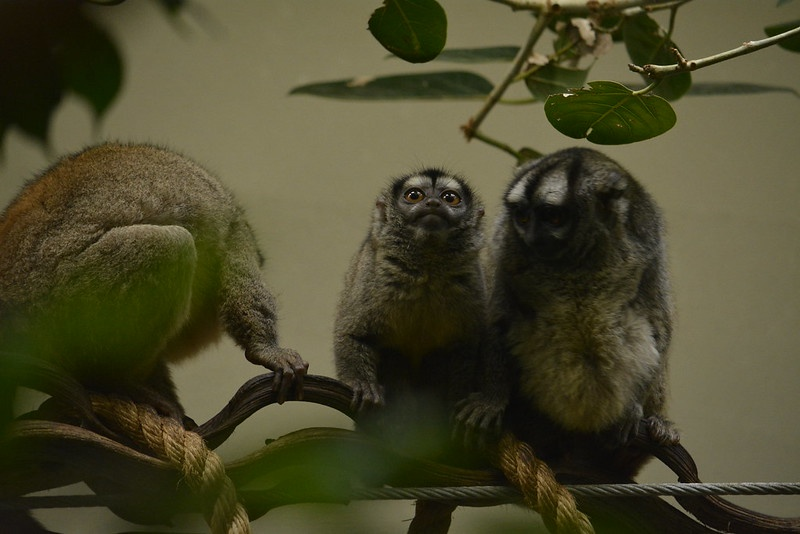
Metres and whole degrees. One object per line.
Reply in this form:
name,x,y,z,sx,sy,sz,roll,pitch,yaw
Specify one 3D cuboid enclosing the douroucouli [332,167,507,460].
douroucouli,0.049,0.090,5.235,0.622,1.106,0.349,3,-11,-3
